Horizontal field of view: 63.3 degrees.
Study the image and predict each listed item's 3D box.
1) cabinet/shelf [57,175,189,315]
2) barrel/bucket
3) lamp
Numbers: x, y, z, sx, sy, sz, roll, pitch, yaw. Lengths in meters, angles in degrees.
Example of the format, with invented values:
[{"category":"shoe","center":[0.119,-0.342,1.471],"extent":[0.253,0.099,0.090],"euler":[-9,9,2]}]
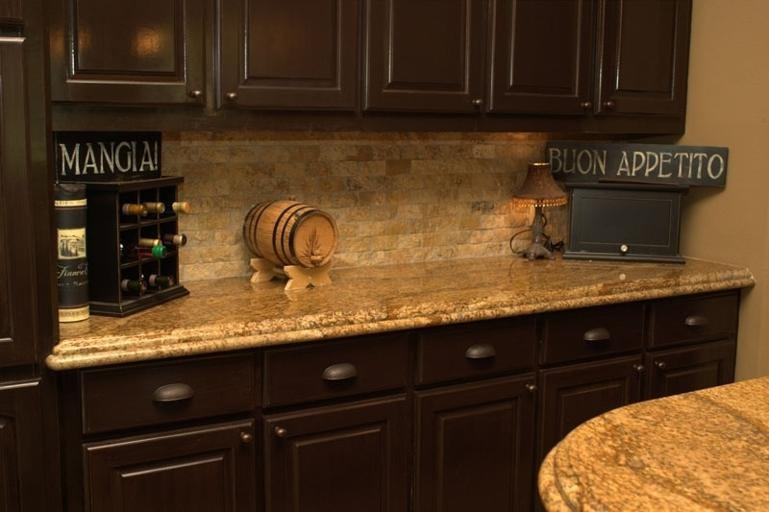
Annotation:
[{"category":"cabinet/shelf","center":[-1.028,-0.045,2.393],"extent":[0.310,0.589,0.539],"euler":[1,4,24]},{"category":"barrel/bucket","center":[-0.432,-0.100,2.811],"extent":[0.272,0.297,0.391],"euler":[-11,12,-39]},{"category":"lamp","center":[0.875,-0.257,3.411],"extent":[0.373,0.514,0.284],"euler":[-4,10,-7]}]
